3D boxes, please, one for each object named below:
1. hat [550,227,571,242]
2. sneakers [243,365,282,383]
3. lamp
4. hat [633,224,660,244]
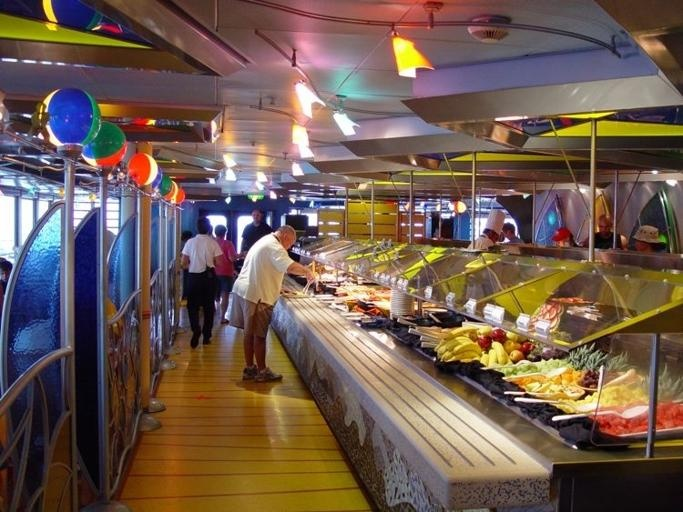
[{"bbox_3d":[4.109,-0.387,9.286,0.505,0.249,0.323,0,-2,-38],"label":"hat"},{"bbox_3d":[-0.894,1.304,5.532,0.475,0.178,0.164,-1,0,2],"label":"sneakers"},{"bbox_3d":[-0.389,-1.370,5.701,1.885,0.559,5.836,0,4,-14],"label":"lamp"},{"bbox_3d":[4.216,-0.287,6.732,0.375,0.176,0.355,2,3,14],"label":"hat"}]
